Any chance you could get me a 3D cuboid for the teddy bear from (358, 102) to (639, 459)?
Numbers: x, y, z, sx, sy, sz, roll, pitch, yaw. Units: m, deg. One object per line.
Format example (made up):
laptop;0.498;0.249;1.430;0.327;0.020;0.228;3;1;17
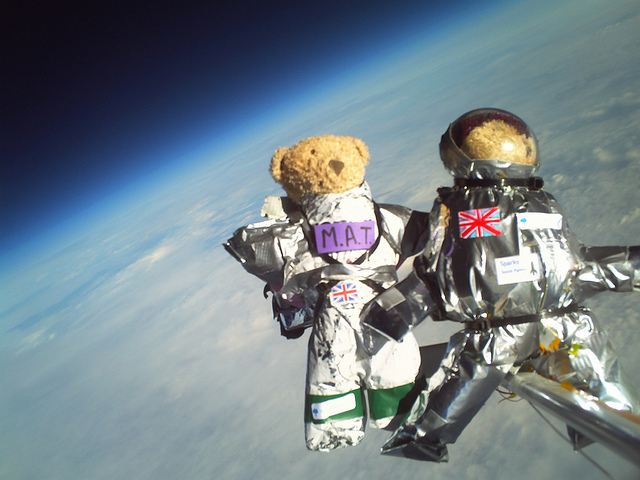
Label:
teddy bear;1.168;0.269;3.350;1.820;2.172;0.835;-21;19;12
